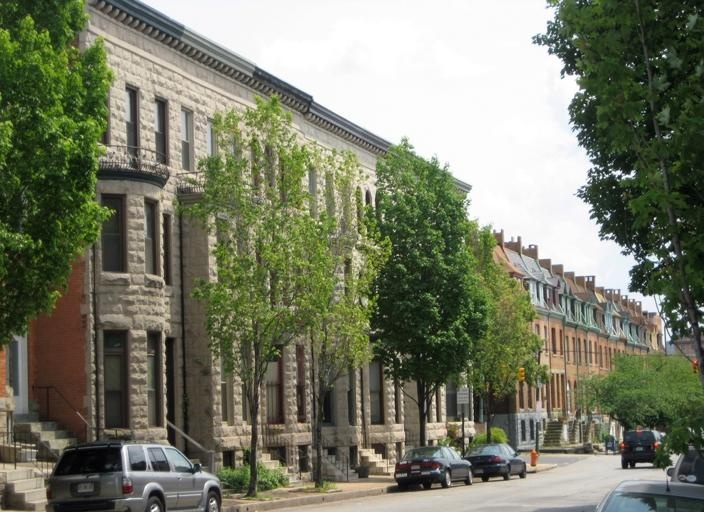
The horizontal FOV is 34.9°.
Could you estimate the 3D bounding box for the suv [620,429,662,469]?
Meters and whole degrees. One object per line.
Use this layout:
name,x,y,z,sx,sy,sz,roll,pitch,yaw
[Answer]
suv,14.003,9.362,54.357,1.513,2.022,2.331,12,-23,-38

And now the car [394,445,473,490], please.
car,3.303,8.342,44.144,1.417,1.701,3.488,-18,-24,40

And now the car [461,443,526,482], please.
car,6.442,9.044,48.991,1.265,1.112,3.142,-7,-18,21
